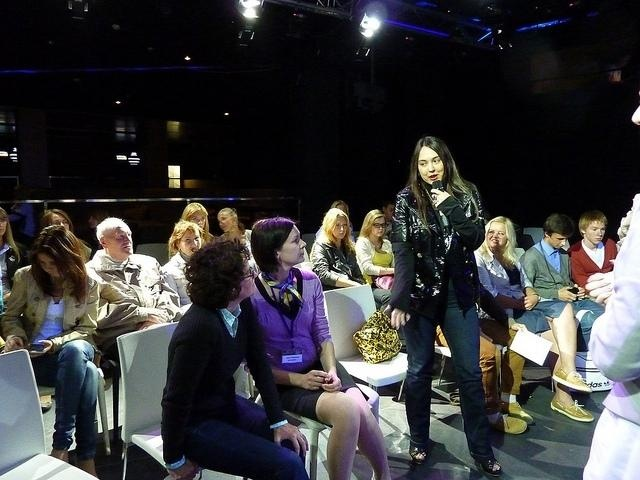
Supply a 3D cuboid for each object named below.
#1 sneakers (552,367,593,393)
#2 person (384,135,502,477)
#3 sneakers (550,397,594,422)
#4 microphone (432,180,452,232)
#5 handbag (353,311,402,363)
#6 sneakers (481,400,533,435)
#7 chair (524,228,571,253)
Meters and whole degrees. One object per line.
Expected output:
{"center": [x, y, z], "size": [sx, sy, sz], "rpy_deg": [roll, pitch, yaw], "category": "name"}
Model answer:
{"center": [1.898, 1.051, 3.471], "size": [0.134, 0.125, 0.305], "rpy_deg": [38, -15, -19], "category": "sneakers"}
{"center": [0.778, 0.401, 2.875], "size": [0.672, 2.052, 0.408], "rpy_deg": [2, 11, 9], "category": "person"}
{"center": [1.941, 1.280, 3.522], "size": [0.115, 0.106, 0.250], "rpy_deg": [-4, 4, -45], "category": "sneakers"}
{"center": [0.735, -0.223, 2.805], "size": [0.104, 0.280, 0.137], "rpy_deg": [1, 11, 6], "category": "microphone"}
{"center": [0.405, 0.678, 3.245], "size": [0.330, 0.342, 0.267], "rpy_deg": [1, 1, -9], "category": "handbag"}
{"center": [1.383, 1.297, 3.355], "size": [0.206, 0.107, 0.279], "rpy_deg": [-7, -7, -33], "category": "sneakers"}
{"center": [2.983, -0.016, 6.045], "size": [0.548, 0.507, 0.455], "rpy_deg": [1, 0, 24], "category": "chair"}
